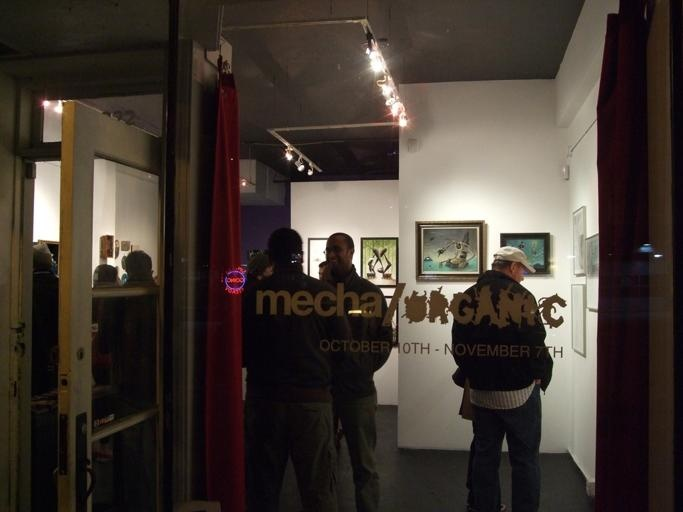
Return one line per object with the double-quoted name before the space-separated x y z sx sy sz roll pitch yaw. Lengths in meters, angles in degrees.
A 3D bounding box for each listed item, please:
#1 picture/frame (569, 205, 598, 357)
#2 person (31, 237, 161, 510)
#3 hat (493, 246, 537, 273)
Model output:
"picture/frame" 1.161 0.121 2.839 0.129 0.708 0.029 0 -2 0
"person" -1.400 0.736 3.310 0.957 1.607 0.369 -2 -2 45
"hat" 0.836 0.022 2.848 0.159 0.100 0.109 15 -2 2
